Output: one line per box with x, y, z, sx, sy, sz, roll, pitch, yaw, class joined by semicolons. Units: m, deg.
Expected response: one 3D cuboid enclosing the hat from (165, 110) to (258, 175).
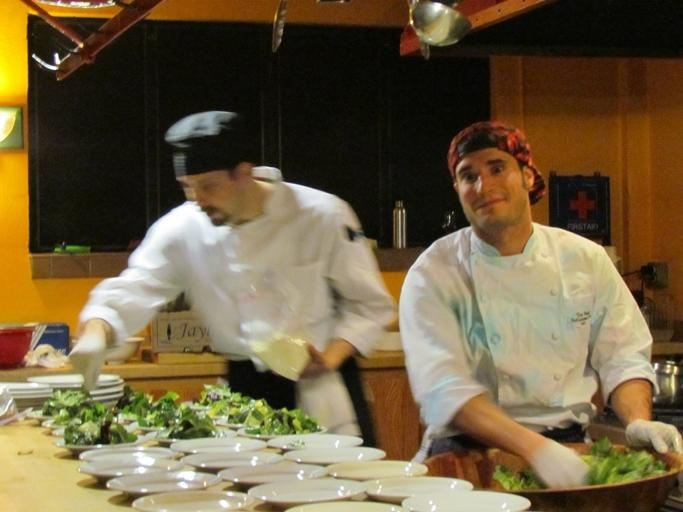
-0.420;-0.357;2.500;0.204;0.133;0.223;-2;8;10;hat

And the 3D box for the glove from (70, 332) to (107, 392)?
-0.811;0.331;2.446;0.106;0.188;0.068;0;-4;-16;glove
